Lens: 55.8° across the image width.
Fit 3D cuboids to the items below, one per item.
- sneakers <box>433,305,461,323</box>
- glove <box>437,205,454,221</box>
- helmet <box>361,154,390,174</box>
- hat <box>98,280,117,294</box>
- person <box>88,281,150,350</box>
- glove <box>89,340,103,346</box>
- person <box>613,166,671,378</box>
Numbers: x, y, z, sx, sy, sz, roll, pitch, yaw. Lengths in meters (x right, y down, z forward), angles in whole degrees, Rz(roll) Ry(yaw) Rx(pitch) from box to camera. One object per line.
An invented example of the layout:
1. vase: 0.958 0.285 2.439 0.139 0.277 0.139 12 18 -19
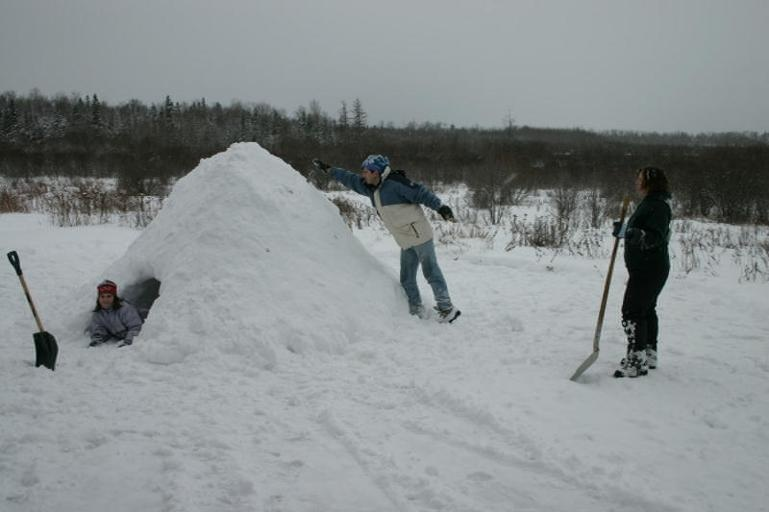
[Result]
1. sneakers: 1.017 0.945 11.882 0.228 0.176 0.530 -7 9 -21
2. glove: 0.963 -0.665 11.559 0.212 0.265 0.106 -41 -15 -6
3. helmet: -0.161 -1.488 11.952 0.470 0.329 0.323 -2 26 -19
4. hat: -4.424 0.496 11.554 0.234 0.191 0.229 -2 13 -9
5. person: -4.316 0.930 11.550 0.829 1.030 1.074 -5 18 3
6. glove: -4.498 1.349 11.282 0.199 0.071 0.165 -3 7 -23
7. person: 3.685 0.230 10.378 0.744 2.981 0.468 1 8 7
